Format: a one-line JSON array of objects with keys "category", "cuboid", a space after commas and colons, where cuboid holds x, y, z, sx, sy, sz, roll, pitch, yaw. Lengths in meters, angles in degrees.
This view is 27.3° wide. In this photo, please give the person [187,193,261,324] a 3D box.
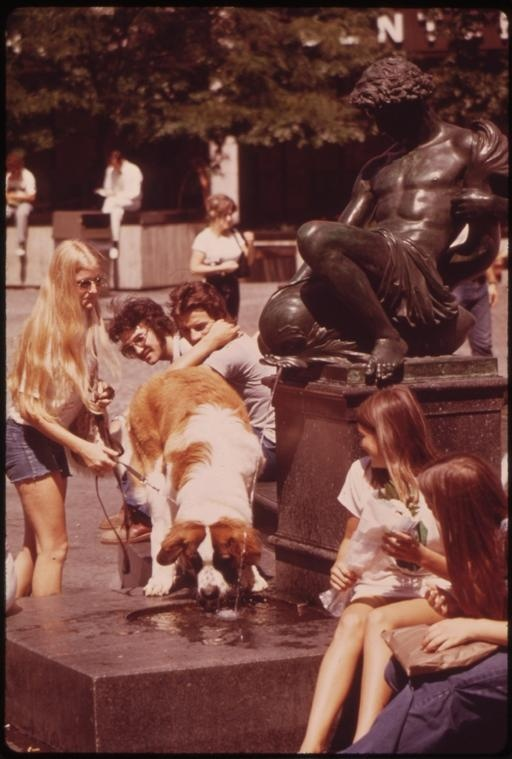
[{"category": "person", "cuboid": [-0.191, -0.598, 7.168, 0.407, 1.306, 0.381, -16, 34, -21]}]

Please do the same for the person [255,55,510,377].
[{"category": "person", "cuboid": [0.451, -0.545, 3.601, 0.860, 1.113, 0.466, 1, 2, -2]}]

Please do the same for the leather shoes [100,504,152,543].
[{"category": "leather shoes", "cuboid": [-0.539, 0.603, 4.262, 0.223, 0.100, 0.152, 1, 10, 12]}]

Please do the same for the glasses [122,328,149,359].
[{"category": "glasses", "cuboid": [-0.473, -0.134, 4.313, 0.110, 0.122, 0.037, -16, 26, 43]}]

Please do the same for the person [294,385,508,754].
[{"category": "person", "cuboid": [0.435, 0.531, 2.996, 0.515, 1.014, 0.661, 1, 1, 11]}]

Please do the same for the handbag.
[{"category": "handbag", "cuboid": [0.470, 0.704, 2.744, 0.162, 0.047, 0.182, -12, 6, -10]}]

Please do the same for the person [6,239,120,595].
[{"category": "person", "cuboid": [-0.725, 0.152, 3.940, 0.408, 1.332, 0.265, 1, 2, -4]}]

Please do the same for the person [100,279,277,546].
[{"category": "person", "cuboid": [-0.327, 0.375, 4.665, 0.373, 1.703, 0.798, -9, 42, -20]}]

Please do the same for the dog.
[{"category": "dog", "cuboid": [-0.228, 0.369, 3.885, 0.522, 0.817, 0.497, 1, 1, -9]}]
